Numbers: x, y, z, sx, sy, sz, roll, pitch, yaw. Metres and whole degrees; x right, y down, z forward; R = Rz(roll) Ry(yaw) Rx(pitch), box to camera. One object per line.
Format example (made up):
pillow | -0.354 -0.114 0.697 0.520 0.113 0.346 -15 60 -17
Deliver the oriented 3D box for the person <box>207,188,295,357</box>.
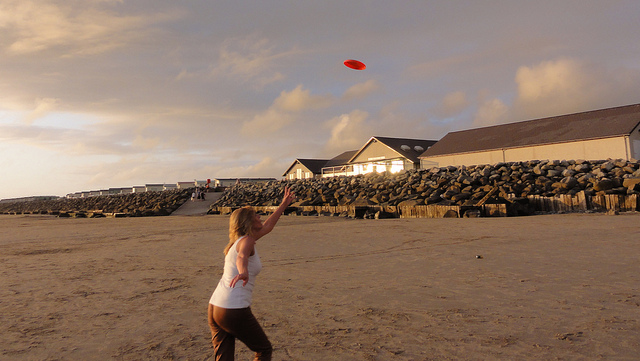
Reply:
person | -1.711 2.246 9.919 1.396 3.250 0.523 3 -5 -12

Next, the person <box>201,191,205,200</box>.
person | -15.245 1.993 58.298 0.377 1.157 1.139 -3 4 3
